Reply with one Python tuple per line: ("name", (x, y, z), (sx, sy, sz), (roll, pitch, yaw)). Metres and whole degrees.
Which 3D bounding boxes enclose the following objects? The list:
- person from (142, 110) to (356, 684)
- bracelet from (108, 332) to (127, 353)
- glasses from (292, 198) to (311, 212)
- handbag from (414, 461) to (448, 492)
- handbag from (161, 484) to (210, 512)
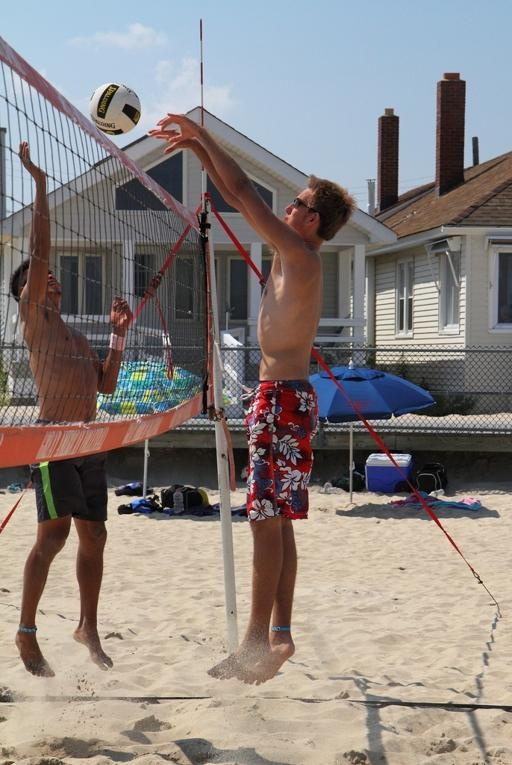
("person", (0.019, 0.049, 3.670), (0.695, 2.288, 0.603), (2, -2, 5))
("bracelet", (-0.719, -0.211, 4.629), (0.088, 0.092, 0.096), (6, 2, 1))
("glasses", (0.192, -0.724, 3.707), (0.069, 0.020, 0.056), (21, 7, -11))
("handbag", (2.096, 1.135, 10.780), (0.306, 0.356, 0.359), (-5, -9, 15))
("handbag", (-0.771, 1.249, 9.937), (0.392, 0.379, 0.280), (-2, 2, -27))
